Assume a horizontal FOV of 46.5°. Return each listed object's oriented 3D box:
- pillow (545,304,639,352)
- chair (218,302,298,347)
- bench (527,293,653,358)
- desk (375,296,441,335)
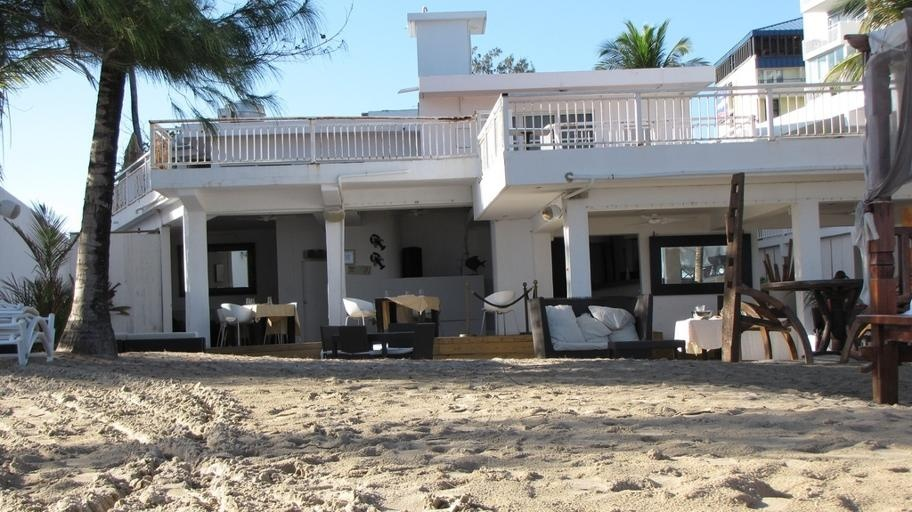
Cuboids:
[{"bbox_3d":[2.573,1.382,20.814,1.240,1.073,0.414,0,-25,-8],"label":"pillow"},{"bbox_3d":[-4.795,1.663,25.767,1.835,1.001,2.816,-1,-8,-11],"label":"chair"},{"bbox_3d":[2.527,1.393,21.156,2.311,1.212,1.220,0,-3,-4],"label":"bench"},{"bbox_3d":[-1.226,1.285,25.012,1.103,0.849,1.126,0,-7,-3],"label":"desk"}]
